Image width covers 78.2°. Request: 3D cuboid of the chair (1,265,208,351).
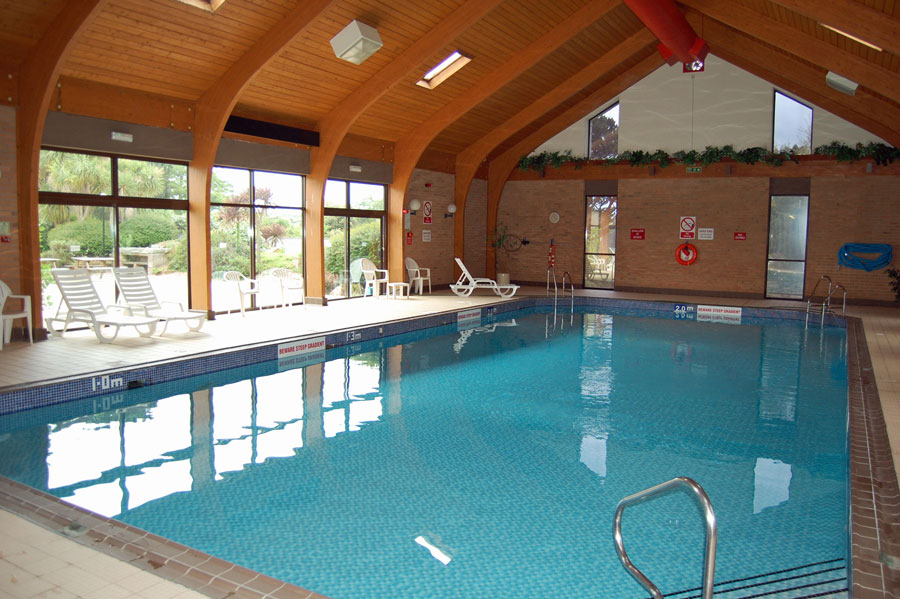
[{"bbox_3d":[-5.737,0.090,9.372,2.174,0.819,1.578,3,5,26],"label":"chair"}]
